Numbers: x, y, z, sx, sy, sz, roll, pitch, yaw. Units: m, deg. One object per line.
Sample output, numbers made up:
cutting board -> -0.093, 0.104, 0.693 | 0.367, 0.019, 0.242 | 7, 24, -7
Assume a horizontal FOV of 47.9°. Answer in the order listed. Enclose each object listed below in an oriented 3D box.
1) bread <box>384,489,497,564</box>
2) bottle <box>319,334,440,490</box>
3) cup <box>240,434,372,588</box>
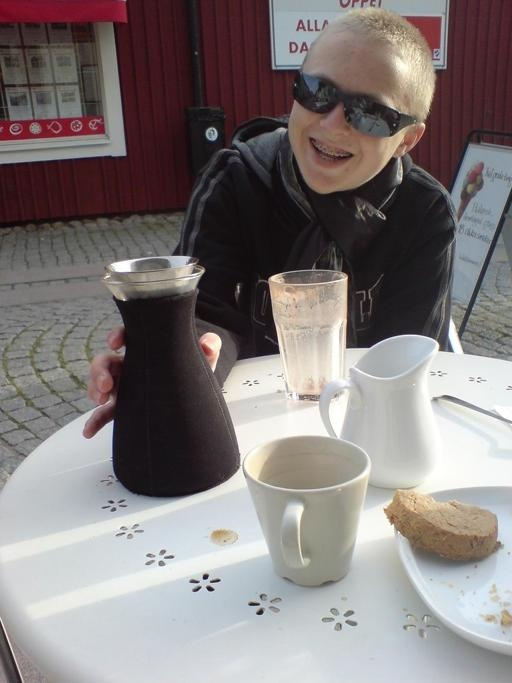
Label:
bread -> 0.197, 0.178, 0.585 | 0.064, 0.021, 0.083 | -10, 12, -36
bottle -> 0.159, 0.100, 0.765 | 0.184, 0.182, 0.118 | -10, 18, -18
cup -> 0.073, 0.172, 0.603 | 0.117, 0.112, 0.158 | 2, 23, 16
